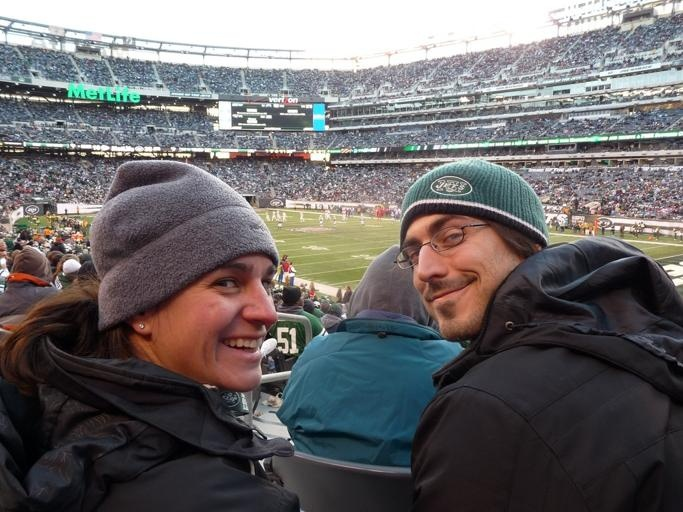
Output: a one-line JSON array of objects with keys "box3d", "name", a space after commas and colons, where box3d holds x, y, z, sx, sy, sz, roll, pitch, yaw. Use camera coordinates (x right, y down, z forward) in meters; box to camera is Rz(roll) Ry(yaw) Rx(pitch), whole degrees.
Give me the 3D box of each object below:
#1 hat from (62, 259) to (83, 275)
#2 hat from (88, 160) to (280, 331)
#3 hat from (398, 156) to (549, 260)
[{"box3d": [-3.551, 0.149, 6.372, 0.213, 0.150, 0.137, -17, 37, 20], "name": "hat"}, {"box3d": [-0.533, -0.043, 1.602, 0.572, 0.562, 0.350, 4, 7, 15], "name": "hat"}, {"box3d": [0.566, -0.183, 1.998, 0.480, 0.282, 0.461, 9, -10, -39], "name": "hat"}]
